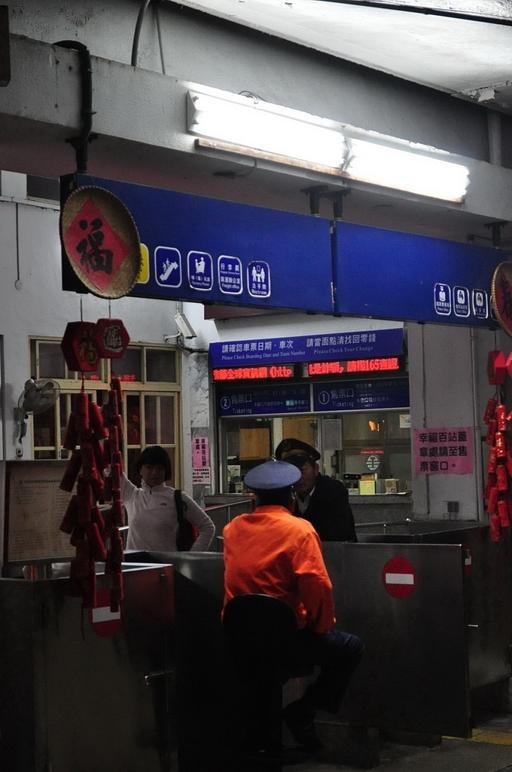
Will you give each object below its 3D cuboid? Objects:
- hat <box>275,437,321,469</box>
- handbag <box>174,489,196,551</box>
[{"bbox_3d":[0.263,0.402,4.730,0.185,0.100,0.182,25,-25,-32],"label":"hat"},{"bbox_3d":[-0.437,0.838,4.592,0.171,0.309,0.302,1,-11,-6],"label":"handbag"}]
